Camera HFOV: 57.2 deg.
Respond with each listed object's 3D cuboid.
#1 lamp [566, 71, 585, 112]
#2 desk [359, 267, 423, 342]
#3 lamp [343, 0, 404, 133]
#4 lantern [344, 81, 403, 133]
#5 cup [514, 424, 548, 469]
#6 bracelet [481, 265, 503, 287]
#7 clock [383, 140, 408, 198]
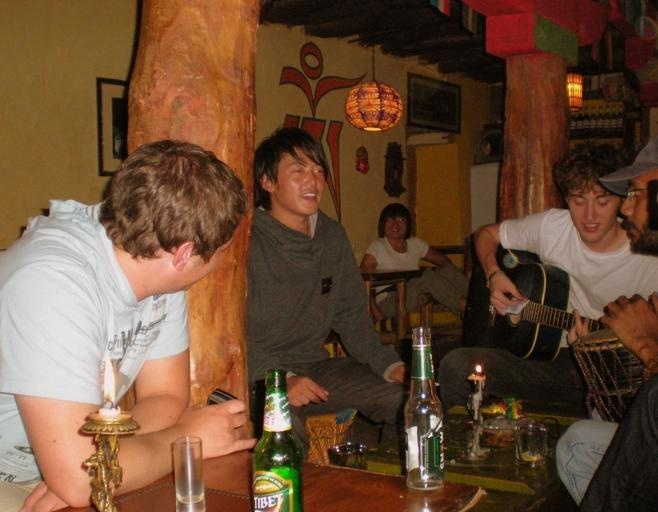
[{"bbox_3d":[3.230,-2.192,8.002,0.232,0.393,0.245,-2,8,-11],"label":"lamp"},{"bbox_3d":[0.521,0.508,6.213,0.633,0.743,0.687,3,7,-6],"label":"desk"},{"bbox_3d":[0.589,-2.425,7.787,0.670,1.670,0.725,5,-3,-14],"label":"lamp"},{"bbox_3d":[0.510,-1.890,7.728,0.576,0.513,0.617,-1,15,-15],"label":"lantern"},{"bbox_3d":[0.812,0.757,2.433,0.143,0.153,0.122,0,0,-19],"label":"cup"},{"bbox_3d":[1.113,0.128,4.133,0.097,0.146,0.118,12,1,5],"label":"bracelet"},{"bbox_3d":[0.981,-1.338,9.125,0.091,0.769,0.669,0,-24,20],"label":"clock"}]
